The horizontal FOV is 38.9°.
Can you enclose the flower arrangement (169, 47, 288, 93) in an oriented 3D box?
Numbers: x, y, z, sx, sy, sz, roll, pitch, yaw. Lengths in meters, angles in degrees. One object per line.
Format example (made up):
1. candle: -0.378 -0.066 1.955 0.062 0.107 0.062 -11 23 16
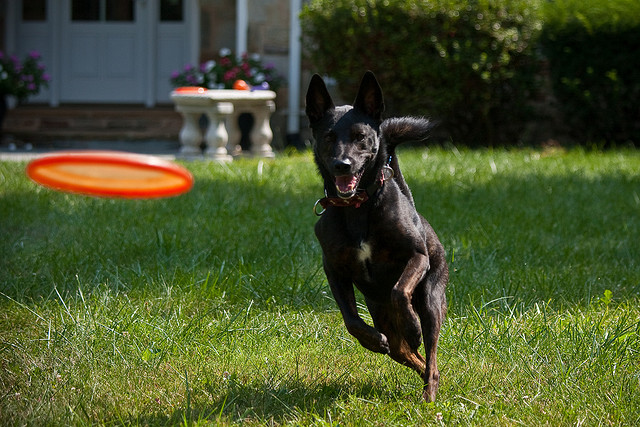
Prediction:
1. flower arrangement: -1.402 -2.258 14.309 1.856 0.651 1.301 -2 10 -13
